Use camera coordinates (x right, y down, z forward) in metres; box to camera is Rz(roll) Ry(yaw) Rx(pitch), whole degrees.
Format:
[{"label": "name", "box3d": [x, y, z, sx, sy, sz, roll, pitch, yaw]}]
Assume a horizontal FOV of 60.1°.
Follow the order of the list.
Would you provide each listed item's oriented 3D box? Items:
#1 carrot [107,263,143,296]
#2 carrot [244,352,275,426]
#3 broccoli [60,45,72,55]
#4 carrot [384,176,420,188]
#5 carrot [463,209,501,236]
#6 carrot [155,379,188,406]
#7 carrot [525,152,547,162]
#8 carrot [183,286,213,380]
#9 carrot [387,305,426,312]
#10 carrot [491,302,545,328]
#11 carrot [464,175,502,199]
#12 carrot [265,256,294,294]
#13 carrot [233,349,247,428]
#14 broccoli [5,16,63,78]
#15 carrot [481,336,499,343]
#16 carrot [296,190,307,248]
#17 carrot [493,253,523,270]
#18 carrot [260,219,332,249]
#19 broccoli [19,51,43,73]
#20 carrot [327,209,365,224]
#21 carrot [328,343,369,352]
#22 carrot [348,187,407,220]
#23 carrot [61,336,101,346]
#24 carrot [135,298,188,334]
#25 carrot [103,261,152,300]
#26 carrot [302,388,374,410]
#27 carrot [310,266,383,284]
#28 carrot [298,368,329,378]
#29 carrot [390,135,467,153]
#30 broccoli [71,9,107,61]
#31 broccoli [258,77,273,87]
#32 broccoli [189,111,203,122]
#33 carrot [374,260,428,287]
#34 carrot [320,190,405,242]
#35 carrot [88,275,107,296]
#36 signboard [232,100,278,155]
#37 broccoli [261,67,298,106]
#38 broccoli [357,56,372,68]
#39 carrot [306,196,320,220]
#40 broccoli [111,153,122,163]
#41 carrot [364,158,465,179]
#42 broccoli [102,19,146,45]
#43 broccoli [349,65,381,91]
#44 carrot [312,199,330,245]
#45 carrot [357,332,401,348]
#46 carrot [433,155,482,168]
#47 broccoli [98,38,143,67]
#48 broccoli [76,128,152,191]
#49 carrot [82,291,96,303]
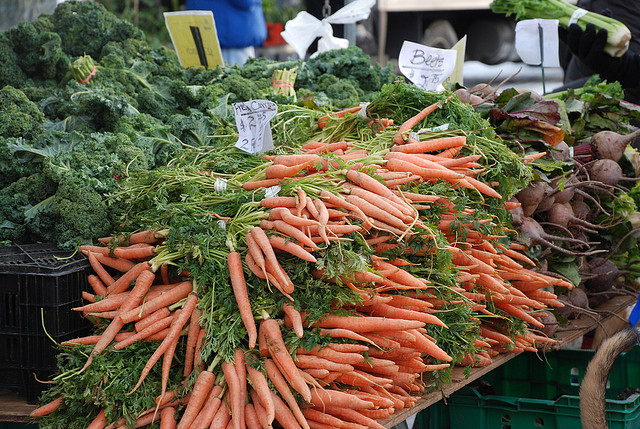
[{"label": "carrot", "box3d": [-1.187, 0.400, 3.378, 0.250, 0.043, 0.035, -42, 25, 6]}, {"label": "carrot", "box3d": [-0.315, 0.949, 2.995, 0.081, 0.076, 0.364, -21, 64, -4]}, {"label": "broccoli", "box3d": [-2.229, -1.457, 4.882, 0.083, 0.079, 0.030, -10, 25, -23]}, {"label": "carrot", "box3d": [0.490, -0.201, 3.404, 0.188, 0.032, 0.031, -13, 9, 9]}, {"label": "carrot", "box3d": [1.001, 0.019, 3.398, 0.269, 0.071, 0.078, 33, 10, -1]}, {"label": "carrot", "box3d": [-0.833, 1.007, 3.094, 0.213, 0.048, 0.054, -37, 11, -20]}, {"label": "carrot", "box3d": [1.498, -0.400, 3.863, 0.228, 0.039, 0.045, -15, 9, -26]}, {"label": "carrot", "box3d": [-0.711, 0.683, 3.181, 0.070, 0.529, 0.076, 12, -7, 16]}, {"label": "carrot", "box3d": [0.494, 0.548, 3.236, 0.164, 0.024, 0.027, 9, 3, -7]}, {"label": "carrot", "box3d": [1.305, 0.673, 3.710, 0.339, 0.051, 0.050, 27, 62, -2]}, {"label": "carrot", "box3d": [1.042, -0.171, 3.573, 0.256, 0.038, 0.041, 29, 43, -12]}, {"label": "carrot", "box3d": [-0.224, 0.335, 3.077, 0.058, 0.216, 0.059, -38, 0, -33]}, {"label": "carrot", "box3d": [-0.439, 0.950, 3.024, 0.058, 0.410, 0.060, -3, -13, -2]}, {"label": "broccoli", "box3d": [-2.332, -1.349, 4.547, 0.378, 0.446, 0.202, -9, 25, -22]}, {"label": "carrot", "box3d": [1.115, 0.830, 3.651, 0.094, 0.053, 0.028, 15, -20, -4]}, {"label": "carrot", "box3d": [-0.092, 0.011, 3.160, 0.041, 0.283, 0.062, -7, -23, 22]}, {"label": "carrot", "box3d": [1.250, 0.325, 3.692, 0.150, 0.044, 0.127, 20, 12, 8]}, {"label": "carrot", "box3d": [-0.126, 0.118, 3.096, 0.237, 0.051, 0.065, 27, 71, 22]}, {"label": "broccoli", "box3d": [-2.348, -1.243, 4.507, 0.141, 0.064, 0.174, -26, 3, 19]}, {"label": "carrot", "box3d": [0.145, 0.001, 3.218, 0.223, 0.054, 0.060, 8, 59, 15]}, {"label": "carrot", "box3d": [0.148, 0.744, 3.076, 0.285, 0.062, 0.071, -2, -3, 9]}, {"label": "carrot", "box3d": [0.325, -0.057, 3.237, 0.265, 0.057, 0.057, 28, 60, 17]}, {"label": "carrot", "box3d": [-1.384, 0.738, 3.207, 0.213, 0.036, 0.041, -4, 23, -12]}, {"label": "carrot", "box3d": [-0.916, 0.590, 3.177, 0.297, 0.050, 0.057, -30, 74, -16]}, {"label": "carrot", "box3d": [-1.161, 0.407, 3.352, 0.040, 0.279, 0.054, 50, 4, 38]}, {"label": "carrot", "box3d": [0.086, 1.022, 3.043, 0.402, 0.092, 0.097, 6, 57, 20]}, {"label": "carrot", "box3d": [0.139, 0.337, 3.065, 0.365, 0.075, 0.081, 3, -8, -5]}, {"label": "carrot", "box3d": [-0.025, 0.868, 3.047, 0.138, 0.043, 0.040, 6, 3, 11]}, {"label": "carrot", "box3d": [0.722, -0.462, 3.656, 0.447, 0.080, 0.086, -7, -4, -3]}, {"label": "broccoli", "box3d": [-2.011, -1.586, 4.976, 0.205, 0.420, 0.314, 15, -1, -38]}, {"label": "broccoli", "box3d": [-0.499, -1.232, 5.107, 0.101, 0.053, 0.102, 4, 26, 3]}, {"label": "broccoli", "box3d": [-1.002, -0.781, 4.453, 0.115, 0.062, 0.097, -9, 25, -21]}, {"label": "carrot", "box3d": [0.456, 0.347, 3.214, 0.220, 0.051, 0.060, 24, 33, 3]}, {"label": "carrot", "box3d": [0.235, 0.023, 3.200, 0.442, 0.061, 0.060, 33, 60, 10]}, {"label": "carrot", "box3d": [-1.395, 0.446, 3.471, 0.130, 0.041, 0.042, 49, 23, 16]}, {"label": "signboard", "box3d": [-0.407, -0.625, 3.805, 0.291, 0.361, 0.365, 2, 38, -4]}, {"label": "broccoli", "box3d": [-0.340, -1.154, 4.979, 0.392, 0.398, 0.212, 0, -10, -15]}, {"label": "broccoli", "box3d": [0.415, -1.498, 5.401, 0.107, 0.090, 0.106, 8, 21, -43]}, {"label": "carrot", "box3d": [-0.051, -0.037, 3.208, 0.046, 0.040, 0.147, 19, 29, -52]}, {"label": "broccoli", "box3d": [-1.437, -0.401, 3.909, 0.069, 0.048, 0.108, -7, 24, -18]}, {"label": "carrot", "box3d": [0.577, -0.284, 3.458, 0.402, 0.063, 0.063, 9, 64, 12]}, {"label": "broccoli", "box3d": [-1.795, -1.653, 5.040, 0.312, 0.179, 0.379, 26, 13, 36]}, {"label": "broccoli", "box3d": [0.447, -1.370, 5.466, 0.150, 0.298, 0.295, -17, 22, 39]}, {"label": "carrot", "box3d": [-0.006, 0.044, 3.138, 0.062, 0.071, 0.298, 21, 36, -28]}, {"label": "carrot", "box3d": [0.334, 0.714, 3.145, 0.146, 0.031, 0.039, 24, 47, 20]}, {"label": "carrot", "box3d": [0.871, -0.340, 3.550, 0.246, 0.033, 0.048, -14, 7, 13]}, {"label": "broccoli", "box3d": [-1.686, -1.438, 4.814, 0.288, 0.154, 0.355, 10, 43, 29]}, {"label": "broccoli", "box3d": [-1.478, -0.386, 3.900, 0.429, 0.246, 0.426, 17, 22, -43]}, {"label": "carrot", "box3d": [-1.423, 0.511, 3.404, 0.094, 0.047, 0.036, 40, -3, 5]}]
